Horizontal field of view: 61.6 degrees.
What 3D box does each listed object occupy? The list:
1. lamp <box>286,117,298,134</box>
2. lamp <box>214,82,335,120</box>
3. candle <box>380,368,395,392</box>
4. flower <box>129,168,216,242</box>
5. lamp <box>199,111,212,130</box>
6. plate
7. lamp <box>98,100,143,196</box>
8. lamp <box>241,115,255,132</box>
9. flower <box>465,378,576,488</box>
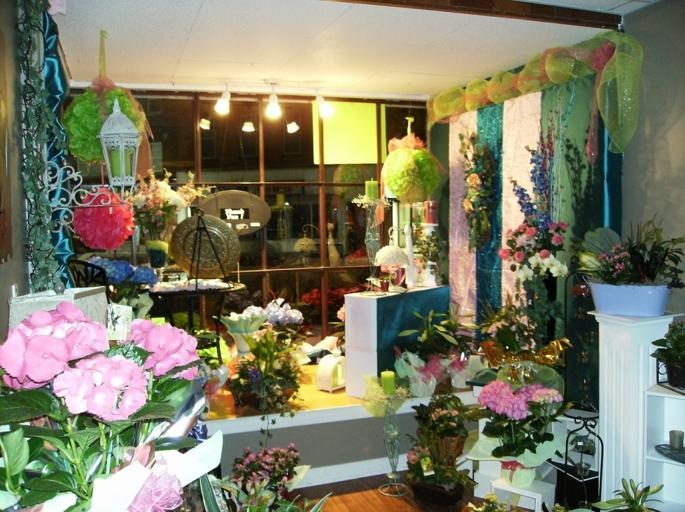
[{"bbox_3d":[-0.512,-1.319,5.867,0.122,0.119,0.108,-15,21,-18],"label":"lamp"},{"bbox_3d":[-0.690,-1.475,5.565,1.059,0.319,0.621,-3,5,-13],"label":"lamp"},{"bbox_3d":[0.346,0.926,4.340,0.091,0.157,0.227,-2,5,9],"label":"candle"},{"bbox_3d":[-1.518,-0.461,5.028,0.685,0.666,0.610,-3,10,-34],"label":"flower"},{"bbox_3d":[-1.342,-1.316,5.619,0.120,0.084,0.120,19,-2,20],"label":"lamp"},{"bbox_3d":[-1.098,-0.079,4.605,0.426,0.561,0.593,-6,6,-41],"label":"plate"},{"bbox_3d":[-1.089,-0.535,2.871,0.192,0.445,0.246,-6,6,-39],"label":"lamp"},{"bbox_3d":[-0.940,-1.309,5.721,0.116,0.072,0.119,1,-4,-4],"label":"lamp"},{"bbox_3d":[1.107,0.993,3.584,0.584,0.571,0.579,0,7,15],"label":"flower"}]
